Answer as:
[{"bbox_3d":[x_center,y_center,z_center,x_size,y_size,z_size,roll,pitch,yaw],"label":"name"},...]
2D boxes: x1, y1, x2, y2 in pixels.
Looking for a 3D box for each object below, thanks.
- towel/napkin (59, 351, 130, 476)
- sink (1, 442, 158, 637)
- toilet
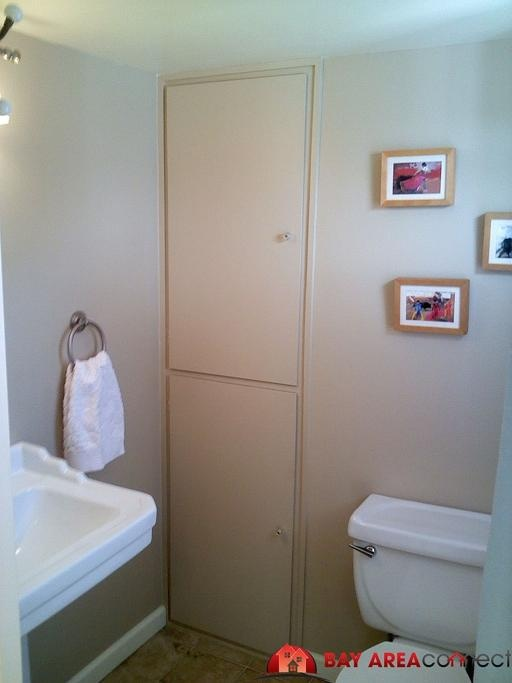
[{"bbox_3d":[-0.467,0.199,1.562,0.115,0.395,0.247,6,15,19],"label":"towel/napkin"},{"bbox_3d":[-0.431,0.382,1.172,0.337,0.181,0.346,10,19,28],"label":"sink"},{"bbox_3d":[0.416,0.598,1.441,0.326,0.321,0.239,8,12,30],"label":"toilet"}]
